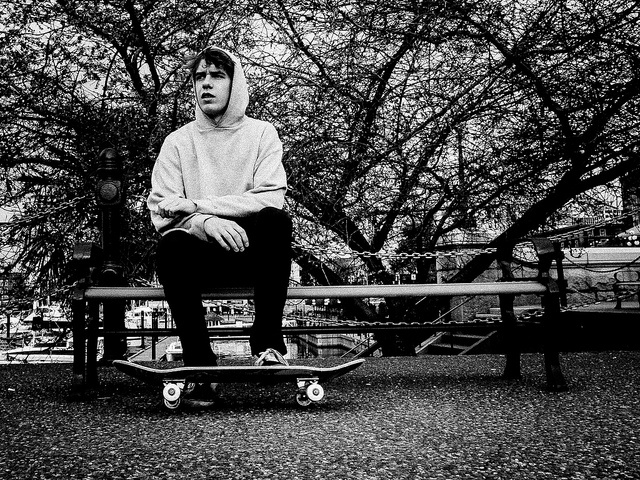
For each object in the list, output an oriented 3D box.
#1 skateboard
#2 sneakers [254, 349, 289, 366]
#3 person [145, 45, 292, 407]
[{"bbox_3d":[-0.661,0.768,4.317,1.820,0.280,0.464,-1,-21,-2],"label":"skateboard"},{"bbox_3d":[-0.266,0.680,4.297,0.131,0.047,0.123,1,-23,1],"label":"sneakers"},{"bbox_3d":[-0.596,-0.088,4.530,0.824,2.152,0.823,-2,7,-11],"label":"person"}]
